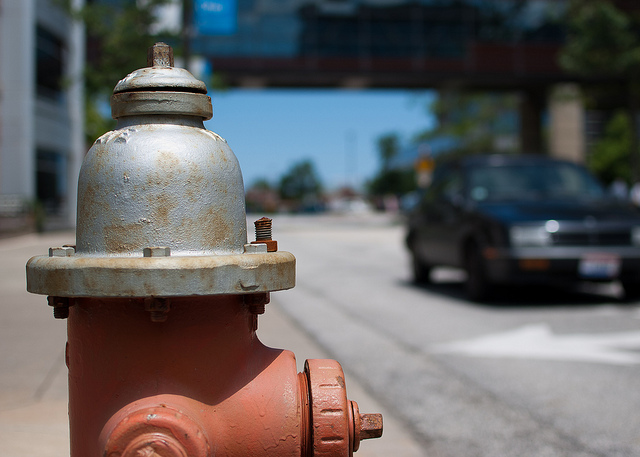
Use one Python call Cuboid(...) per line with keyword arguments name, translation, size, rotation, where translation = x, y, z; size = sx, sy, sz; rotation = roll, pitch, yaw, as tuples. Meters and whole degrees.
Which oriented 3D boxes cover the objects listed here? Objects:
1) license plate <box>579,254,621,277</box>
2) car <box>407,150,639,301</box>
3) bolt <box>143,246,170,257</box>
Cuboid(name="license plate", translation=(2.763, 0.361, 10.393), size=(0.373, 0.231, 0.275), rotation=(8, 30, 6))
Cuboid(name="car", translation=(2.029, -0.055, 10.179), size=(2.514, 1.450, 1.061), rotation=(-5, 4, -34))
Cuboid(name="bolt", translation=(-1.075, 0.153, 6.992), size=(0.170, 0.062, 0.067), rotation=(-3, 3, -10))
